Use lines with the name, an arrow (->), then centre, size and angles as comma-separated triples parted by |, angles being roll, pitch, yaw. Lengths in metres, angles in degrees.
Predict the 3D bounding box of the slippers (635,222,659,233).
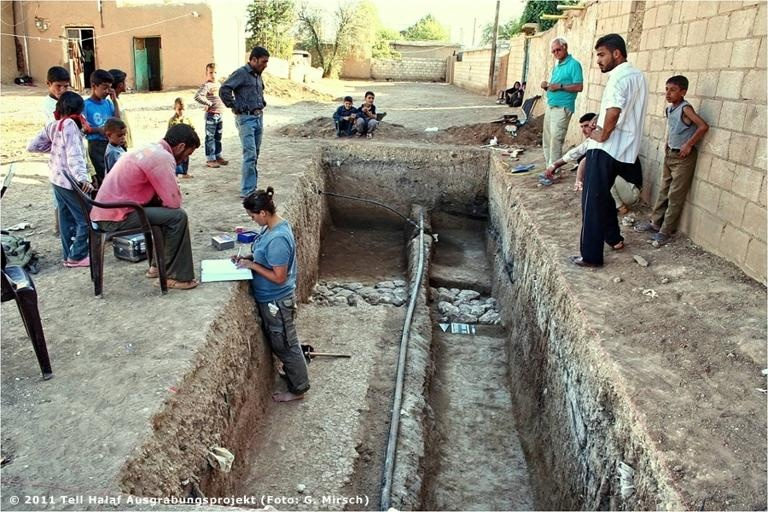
slippers -> 3.304, -0.359, 6.094 | 0.286, 0.125, 0.111 | 10, 40, 14

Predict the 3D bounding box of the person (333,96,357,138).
person -> -0.949, -3.541, 12.248 | 0.554, 0.965, 0.844 | -2, 19, -4

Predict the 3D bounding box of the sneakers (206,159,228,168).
sneakers -> -3.255, -1.836, 9.526 | 0.440, 0.181, 0.156 | -4, 24, -9

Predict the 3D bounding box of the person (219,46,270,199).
person -> -2.109, -2.088, 7.581 | 0.754, 2.244, 0.971 | -5, 20, -13

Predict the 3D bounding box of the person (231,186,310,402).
person -> -1.160, 0.447, 5.198 | 0.590, 2.416, 0.390 | 9, 22, 24

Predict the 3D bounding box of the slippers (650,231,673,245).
slippers -> 3.319, -0.224, 5.788 | 0.134, 0.145, 0.363 | 2, 13, 39

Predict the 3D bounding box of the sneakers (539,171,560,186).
sneakers -> 2.845, -1.320, 8.287 | 0.208, 0.156, 0.449 | -13, -7, 41

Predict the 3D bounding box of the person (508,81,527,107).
person -> 4.939, -5.965, 17.785 | 0.526, 0.861, 1.444 | 5, 19, 15

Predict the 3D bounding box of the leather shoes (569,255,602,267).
leather shoes -> 2.240, 0.067, 5.440 | 0.129, 0.084, 0.231 | -11, 19, -34

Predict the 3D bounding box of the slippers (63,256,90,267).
slippers -> -3.487, 0.056, 5.565 | 0.358, 0.149, 0.117 | 0, 7, -35

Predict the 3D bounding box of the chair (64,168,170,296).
chair -> -2.770, -0.271, 5.044 | 0.870, 1.123, 0.784 | -10, 21, -38
